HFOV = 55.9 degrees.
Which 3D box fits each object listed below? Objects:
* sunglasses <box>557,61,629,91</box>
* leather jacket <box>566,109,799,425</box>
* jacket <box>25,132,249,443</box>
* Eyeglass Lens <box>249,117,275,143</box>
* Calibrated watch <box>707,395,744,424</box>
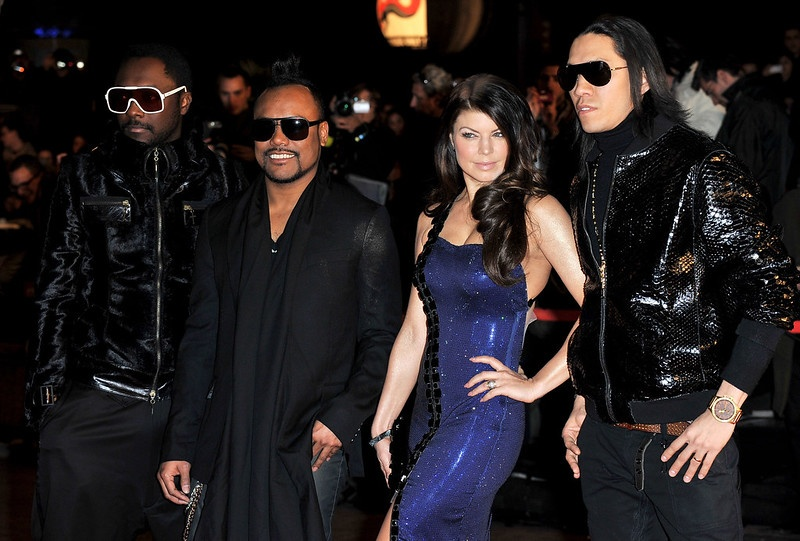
[{"bbox_3d":[0.818,-0.811,3.137,0.166,0.060,0.172,-1,-1,33],"label":"sunglasses"},{"bbox_3d":[1.106,0.020,3.049,0.940,1.252,0.338,11,14,25],"label":"leather jacket"},{"bbox_3d":[-1.515,0.035,4.118,1.124,1.361,0.384,8,-2,-16],"label":"jacket"},{"bbox_3d":[-0.645,-0.679,3.618,0.118,0.110,0.053,1,14,12],"label":"Eyeglass Lens"},{"bbox_3d":[1.243,0.531,2.919,0.121,0.086,0.109,22,-3,18],"label":"Calibrated watch"}]
